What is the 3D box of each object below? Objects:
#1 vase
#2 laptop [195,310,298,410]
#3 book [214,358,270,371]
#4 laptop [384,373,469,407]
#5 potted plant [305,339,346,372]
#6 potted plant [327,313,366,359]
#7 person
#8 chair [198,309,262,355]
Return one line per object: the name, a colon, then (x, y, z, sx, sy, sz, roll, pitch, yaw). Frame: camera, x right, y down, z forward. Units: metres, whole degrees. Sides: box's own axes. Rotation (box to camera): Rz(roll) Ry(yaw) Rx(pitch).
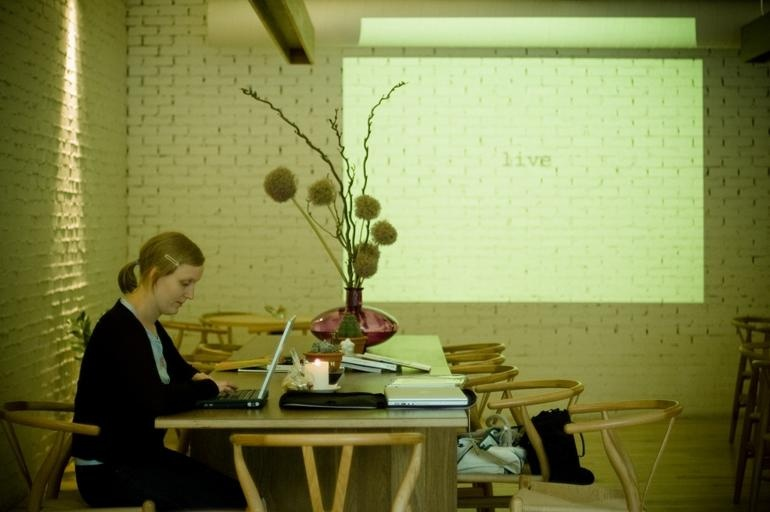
vase: (-0.226, 0.423, 5.034, 0.866, 0.391, 0.798, 3, -2, -24)
laptop: (-0.692, 0.546, 3.934, 0.547, 0.335, 0.531, 3, -2, 3)
book: (-0.870, 0.670, 4.491, 0.187, 0.038, 0.168, 0, 1, 2)
laptop: (0.226, 0.723, 3.943, 0.437, 0.088, 0.485, 0, 1, 4)
potted plant: (-0.361, 0.596, 4.364, 0.218, 0.126, 0.197, 0, -4, -4)
potted plant: (-0.201, 0.493, 4.665, 0.278, 0.263, 0.251, 0, -5, 0)
person: (-1.206, 0.579, 3.841, 0.821, 1.411, 0.615, 0, 1, -21)
chair: (-1.419, 0.682, 6.727, 0.500, 0.410, 0.450, 0, 0, -3)
